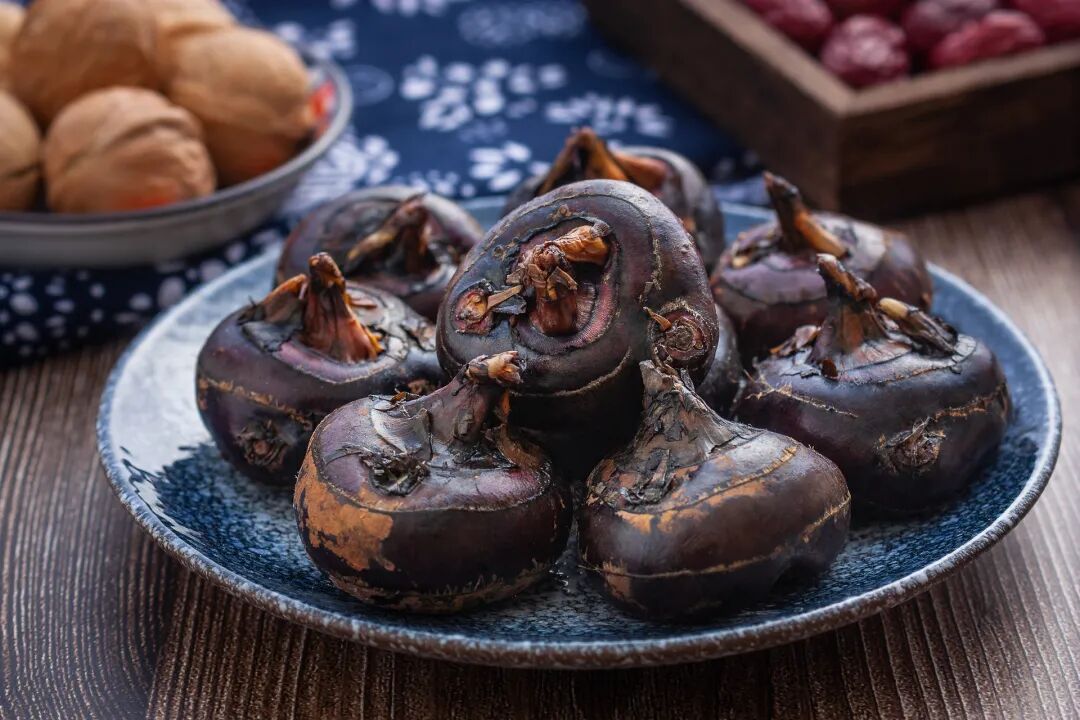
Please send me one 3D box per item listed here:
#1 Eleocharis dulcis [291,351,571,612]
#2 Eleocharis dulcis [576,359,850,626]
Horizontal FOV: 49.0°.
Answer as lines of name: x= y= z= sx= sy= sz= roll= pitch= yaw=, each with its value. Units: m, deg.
Eleocharis dulcis: x=-0.134 y=0.136 z=1.569 sx=0.349 sy=0.385 sz=0.385 roll=7 pitch=19 yaw=-8
Eleocharis dulcis: x=0.214 y=0.150 z=1.544 sx=0.350 sy=0.344 sz=0.321 roll=-9 pitch=100 yaw=-8
